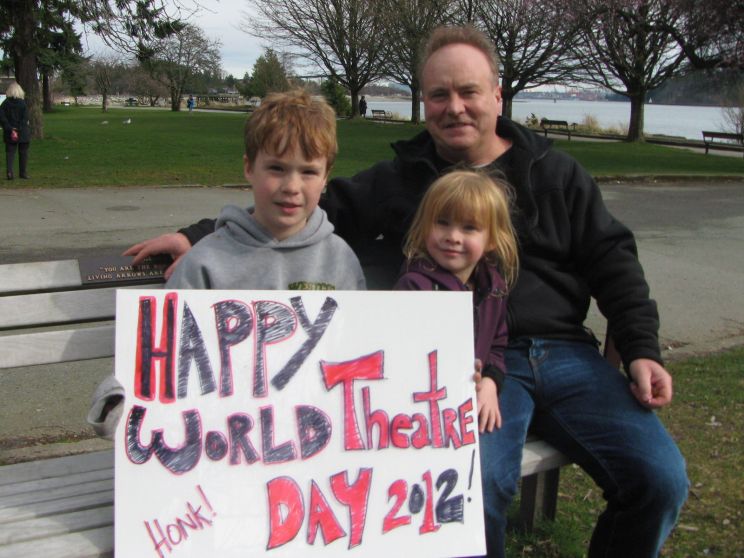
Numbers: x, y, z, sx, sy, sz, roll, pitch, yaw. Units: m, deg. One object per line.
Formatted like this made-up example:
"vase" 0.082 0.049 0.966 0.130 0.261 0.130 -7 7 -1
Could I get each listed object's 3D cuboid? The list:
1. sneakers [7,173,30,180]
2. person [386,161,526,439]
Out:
"sneakers" -7.241 -2.105 14.045 0.396 0.136 0.178 4 -24 -9
"person" 0.426 0.054 3.389 0.498 1.135 0.594 4 14 22
